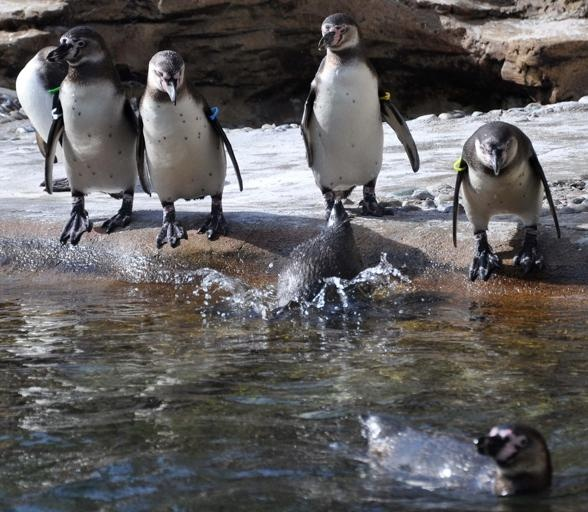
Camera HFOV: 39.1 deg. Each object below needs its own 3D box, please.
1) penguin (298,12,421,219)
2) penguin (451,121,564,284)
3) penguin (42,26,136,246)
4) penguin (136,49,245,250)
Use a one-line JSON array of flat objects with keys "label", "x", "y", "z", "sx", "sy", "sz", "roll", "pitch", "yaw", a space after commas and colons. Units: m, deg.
[{"label": "penguin", "x": 0.392, "y": -0.854, "z": 5.155, "sx": 0.950, "sy": 1.319, "sz": 0.828, "roll": -5, "pitch": 24, "yaw": -14}, {"label": "penguin", "x": 1.120, "y": -0.279, "z": 4.398, "sx": 0.578, "sy": 0.873, "sz": 0.562, "roll": -2, "pitch": 13, "yaw": 12}, {"label": "penguin", "x": -1.227, "y": -0.814, "z": 5.503, "sx": 0.785, "sy": 1.354, "sz": 0.644, "roll": -10, "pitch": 29, "yaw": -25}, {"label": "penguin", "x": -0.663, "y": -0.628, "z": 5.033, "sx": 0.615, "sy": 1.206, "sz": 0.709, "roll": -7, "pitch": 13, "yaw": -6}]
